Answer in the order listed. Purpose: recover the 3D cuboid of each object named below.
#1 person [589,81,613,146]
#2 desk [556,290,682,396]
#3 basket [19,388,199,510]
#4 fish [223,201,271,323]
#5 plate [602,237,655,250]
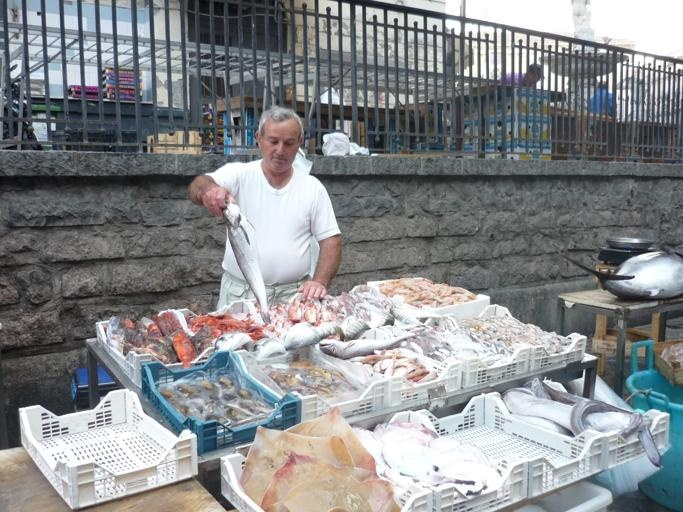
[{"bbox_3d":[4.122,-2.308,8.229,0.274,0.916,0.266,9,34,32],"label":"person"},{"bbox_3d":[2.624,0.522,5.029,1.068,1.115,1.042,-9,13,-39],"label":"desk"},{"bbox_3d":[-0.932,0.652,2.096,0.403,0.180,0.563,-6,10,-34],"label":"basket"},{"bbox_3d":[-0.615,0.033,3.450,0.133,0.759,0.265,-17,-8,-33],"label":"fish"},{"bbox_3d":[3.095,-0.143,5.625,0.392,0.120,0.490,2,13,22],"label":"plate"}]
